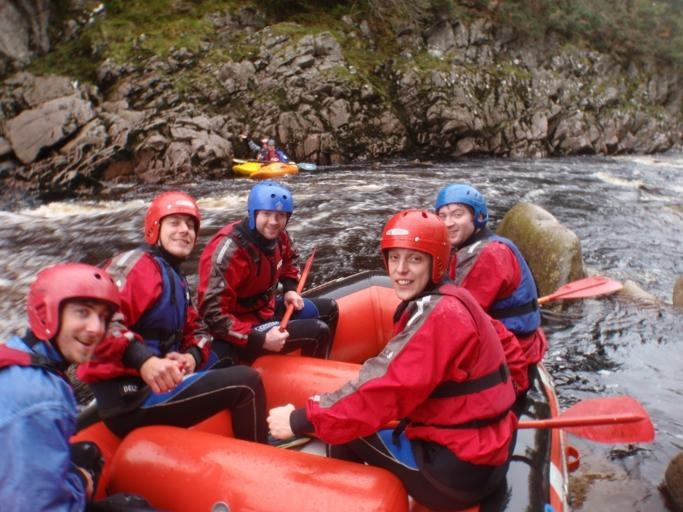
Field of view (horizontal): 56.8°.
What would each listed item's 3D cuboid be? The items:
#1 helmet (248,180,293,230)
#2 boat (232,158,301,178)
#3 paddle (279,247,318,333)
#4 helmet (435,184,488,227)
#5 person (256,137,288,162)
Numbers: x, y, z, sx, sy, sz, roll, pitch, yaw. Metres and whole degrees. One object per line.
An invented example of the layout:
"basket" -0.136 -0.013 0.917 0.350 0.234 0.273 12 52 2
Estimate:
"helmet" -0.889 -0.734 7.903 0.469 0.631 0.542 11 51 -19
"boat" -2.103 -2.327 17.121 1.794 0.490 1.114 3 19 1
"paddle" -0.520 0.420 8.497 0.204 0.085 1.589 10 42 16
"helmet" 1.510 -0.644 7.831 0.617 0.495 0.465 8 -22 -36
"person" -1.856 -2.847 17.137 0.796 0.598 0.519 1 19 -6
